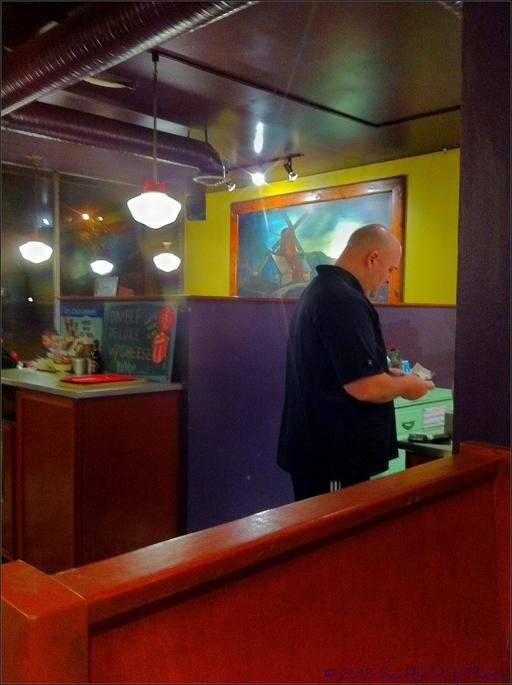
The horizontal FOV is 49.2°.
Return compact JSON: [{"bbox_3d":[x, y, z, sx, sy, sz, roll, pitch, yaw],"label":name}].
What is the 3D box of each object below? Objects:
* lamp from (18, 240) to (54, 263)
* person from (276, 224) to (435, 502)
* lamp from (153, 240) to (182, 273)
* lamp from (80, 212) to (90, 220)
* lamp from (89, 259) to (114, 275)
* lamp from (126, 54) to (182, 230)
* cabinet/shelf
[{"bbox_3d":[-2.429,-1.012,6.084,0.280,0.149,0.479,8,3,-9],"label":"lamp"},{"bbox_3d":[0.343,0.076,1.949,0.429,0.854,0.501,6,3,-15],"label":"person"},{"bbox_3d":[-1.304,-1.205,8.424,0.389,0.494,0.471,-7,38,-9],"label":"lamp"},{"bbox_3d":[-2.610,-1.935,8.591,0.123,0.100,0.030,-4,-4,-23],"label":"lamp"},{"bbox_3d":[-2.318,-1.142,8.604,0.234,0.179,0.513,10,3,20],"label":"lamp"},{"bbox_3d":[-0.822,-1.658,4.523,0.343,1.397,0.342,-2,6,-41],"label":"lamp"},{"bbox_3d":[-0.684,0.552,2.403,0.463,0.928,0.870,3,-6,-30],"label":"cabinet/shelf"}]
